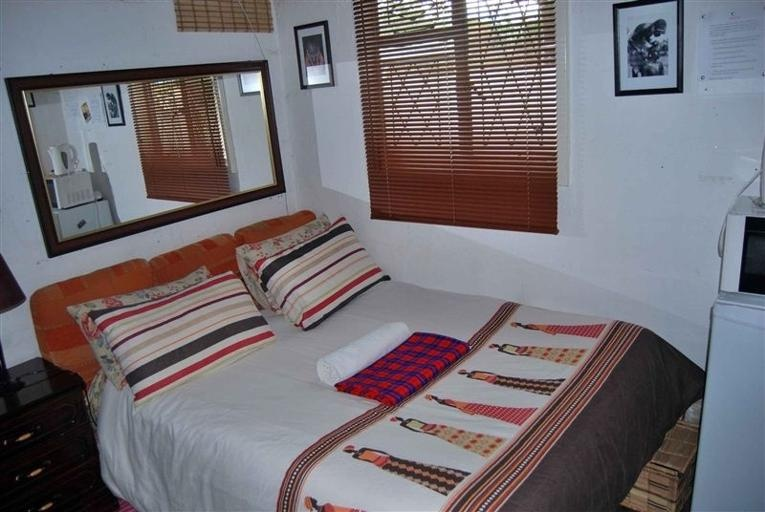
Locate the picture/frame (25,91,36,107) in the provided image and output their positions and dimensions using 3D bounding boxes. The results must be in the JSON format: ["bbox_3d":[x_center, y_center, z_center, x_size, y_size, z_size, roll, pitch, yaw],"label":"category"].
[{"bbox_3d":[-1.952,-0.857,2.713,0.044,0.080,0.016,-20,25,-36],"label":"picture/frame"}]

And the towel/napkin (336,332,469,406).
[{"bbox_3d":[0.128,0.571,2.572,0.329,0.070,0.514,7,25,41],"label":"towel/napkin"}]

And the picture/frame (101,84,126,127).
[{"bbox_3d":[-1.660,-0.920,3.015,0.156,0.267,0.020,8,21,22],"label":"picture/frame"}]

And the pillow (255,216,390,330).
[{"bbox_3d":[-0.395,0.044,3.421,0.807,0.196,0.792,-19,50,-6],"label":"pillow"}]

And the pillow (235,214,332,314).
[{"bbox_3d":[-0.681,0.114,3.303,0.606,0.175,0.589,-32,54,-21],"label":"pillow"}]
